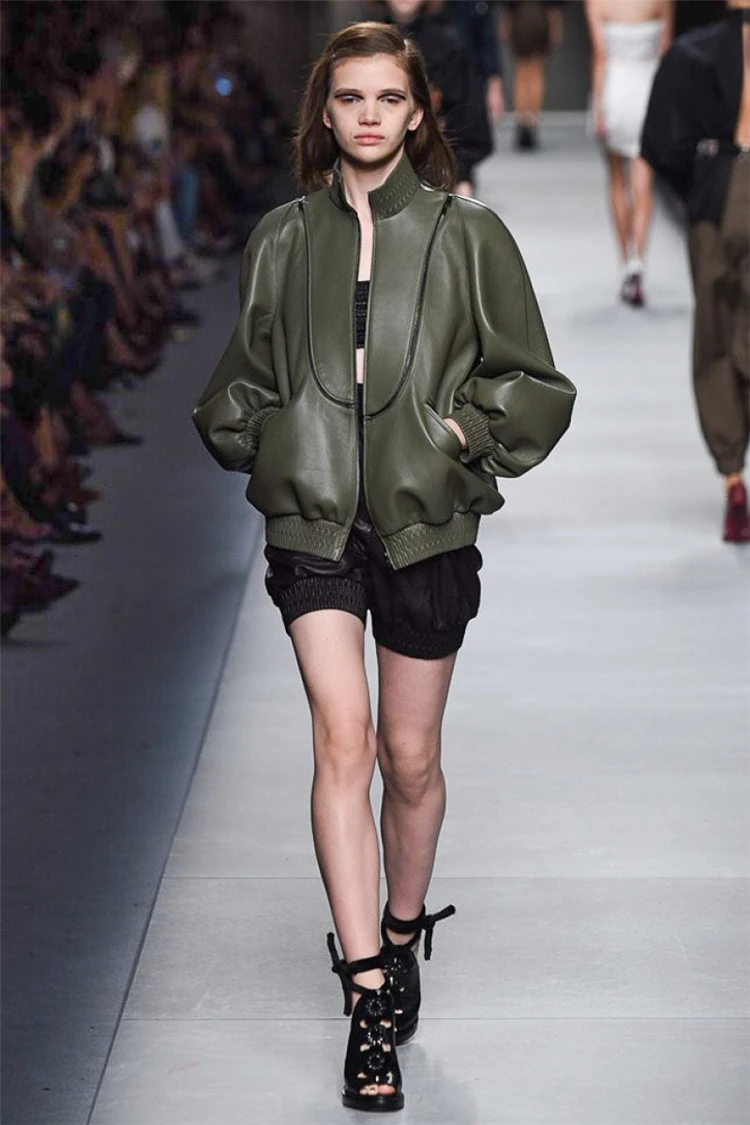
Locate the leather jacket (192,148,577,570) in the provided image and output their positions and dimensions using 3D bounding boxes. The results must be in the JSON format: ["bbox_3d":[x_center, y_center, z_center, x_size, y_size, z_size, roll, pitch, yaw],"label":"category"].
[{"bbox_3d":[0.004,-0.316,1.833,0.653,0.583,0.270,4,13,19],"label":"leather jacket"}]

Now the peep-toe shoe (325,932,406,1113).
[{"bbox_3d":[-0.009,0.661,1.648,0.101,0.215,0.147,0,13,-2],"label":"peep-toe shoe"}]

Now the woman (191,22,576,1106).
[{"bbox_3d":[0.033,-0.020,1.834,0.559,1.603,0.665,-9,16,-35],"label":"woman"}]

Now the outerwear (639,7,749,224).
[{"bbox_3d":[1.437,-1.944,5.132,0.488,0.820,0.502,1,4,-29],"label":"outerwear"}]

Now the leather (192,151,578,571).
[{"bbox_3d":[0.003,-0.313,1.827,0.639,0.580,0.252,4,13,16],"label":"leather"}]

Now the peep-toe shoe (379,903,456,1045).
[{"bbox_3d":[0.074,0.681,1.968,0.085,0.149,0.230,1,12,4],"label":"peep-toe shoe"}]

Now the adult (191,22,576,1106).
[{"bbox_3d":[0.033,-0.020,1.834,0.559,1.603,0.665,-9,16,-35],"label":"adult"}]

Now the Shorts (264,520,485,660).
[{"bbox_3d":[0.006,0.047,1.828,0.377,0.319,0.199,1,-3,-6],"label":"Shorts"}]
